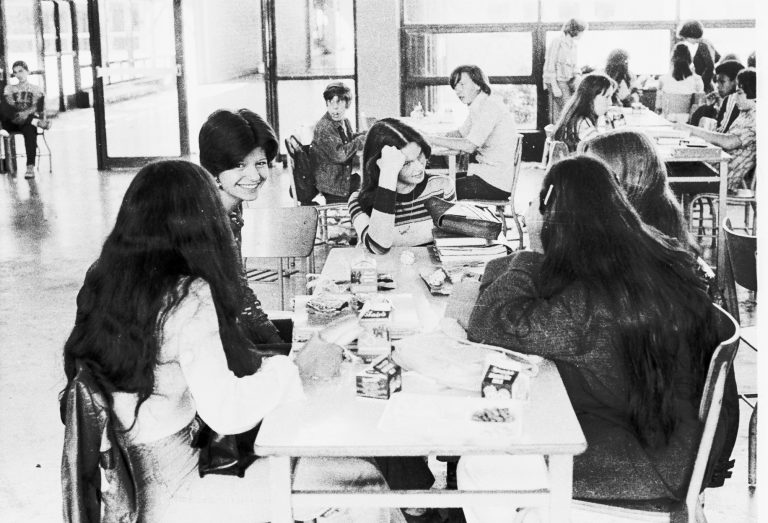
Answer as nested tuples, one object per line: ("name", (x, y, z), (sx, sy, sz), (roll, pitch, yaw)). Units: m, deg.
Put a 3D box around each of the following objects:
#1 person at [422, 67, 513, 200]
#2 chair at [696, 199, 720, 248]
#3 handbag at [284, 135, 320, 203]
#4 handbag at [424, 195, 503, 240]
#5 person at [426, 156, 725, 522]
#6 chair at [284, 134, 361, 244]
("person", (0.491, -0.599, 5.308), (0.526, 0.862, 0.399), (-3, 21, 11))
("chair", (1.794, -0.218, 5.476), (0.159, 0.297, 0.177), (1, 5, 19))
("handbag", (-0.470, -0.552, 5.679), (0.148, 0.320, 0.125), (21, 56, 12))
("handbag", (0.377, -0.185, 4.393), (0.274, 0.079, 0.200), (7, 19, -9))
("person", (0.824, 0.094, 3.896), (1.129, 1.401, 1.071), (11, 21, 34))
("chair", (-0.329, -0.509, 5.713), (0.392, 0.633, 0.405), (0, 23, 3))
